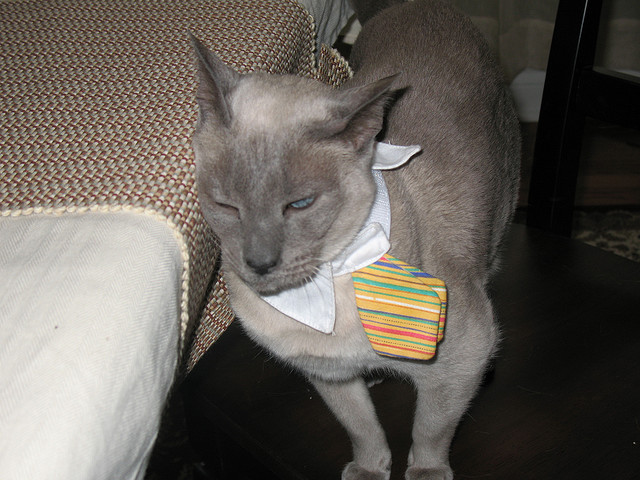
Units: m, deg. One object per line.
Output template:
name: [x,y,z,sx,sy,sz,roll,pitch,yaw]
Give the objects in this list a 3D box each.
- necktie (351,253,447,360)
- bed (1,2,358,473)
necktie: [0.128,0.110,0.966,0.151,0.115,0.127,2,50,14]
bed: [-0.189,0.062,0.931,0.711,0.179,0.751,-6,64,51]
